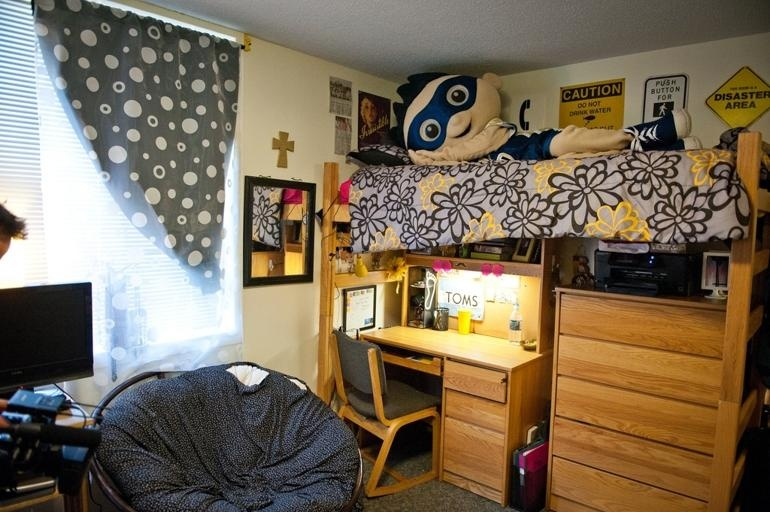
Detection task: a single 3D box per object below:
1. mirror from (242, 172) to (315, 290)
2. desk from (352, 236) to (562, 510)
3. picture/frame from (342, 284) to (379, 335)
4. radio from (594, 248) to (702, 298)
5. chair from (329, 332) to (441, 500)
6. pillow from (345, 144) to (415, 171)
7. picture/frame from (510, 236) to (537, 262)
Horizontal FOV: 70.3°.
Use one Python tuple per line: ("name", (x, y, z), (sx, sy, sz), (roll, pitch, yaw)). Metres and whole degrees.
("mirror", (-0.785, -0.194, 4.140), (0.617, 0.809, 0.039), (-3, 5, -40))
("desk", (0.579, 0.729, 4.399), (1.326, 1.759, 1.882), (0, 4, -38))
("picture/frame", (-0.221, 0.436, 4.606), (0.030, 0.414, 0.408), (6, 6, 44))
("radio", (1.699, 0.086, 3.598), (0.485, 0.291, 0.568), (0, 3, -36))
("chair", (0.009, 1.048, 4.267), (0.784, 1.199, 0.762), (-2, 4, -38))
("pillow", (-0.025, -0.789, 4.287), (0.303, 0.093, 0.308), (1, -1, 37))
("picture/frame", (1.070, -0.061, 4.170), (0.167, 0.165, 0.043), (9, -6, 40))
